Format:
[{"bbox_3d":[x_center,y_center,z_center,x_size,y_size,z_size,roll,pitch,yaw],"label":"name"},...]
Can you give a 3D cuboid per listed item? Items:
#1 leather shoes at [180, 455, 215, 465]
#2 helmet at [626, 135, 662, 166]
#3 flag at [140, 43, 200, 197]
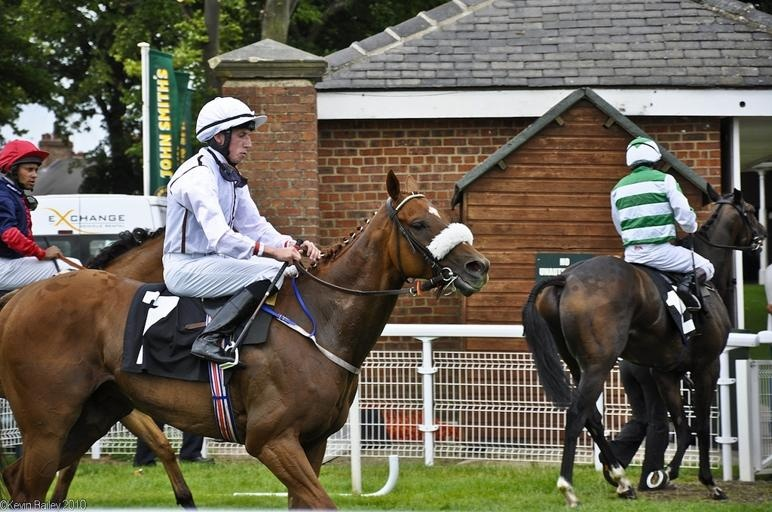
[{"bbox_3d":[-2.569,2.787,22.657,0.498,0.147,0.143,-2,-5,5],"label":"leather shoes"},{"bbox_3d":[3.457,-1.345,21.996,0.388,0.362,0.444,-4,-27,14],"label":"helmet"},{"bbox_3d":[-3.919,-2.765,30.859,0.096,1.964,2.163,-9,-12,21],"label":"flag"}]
